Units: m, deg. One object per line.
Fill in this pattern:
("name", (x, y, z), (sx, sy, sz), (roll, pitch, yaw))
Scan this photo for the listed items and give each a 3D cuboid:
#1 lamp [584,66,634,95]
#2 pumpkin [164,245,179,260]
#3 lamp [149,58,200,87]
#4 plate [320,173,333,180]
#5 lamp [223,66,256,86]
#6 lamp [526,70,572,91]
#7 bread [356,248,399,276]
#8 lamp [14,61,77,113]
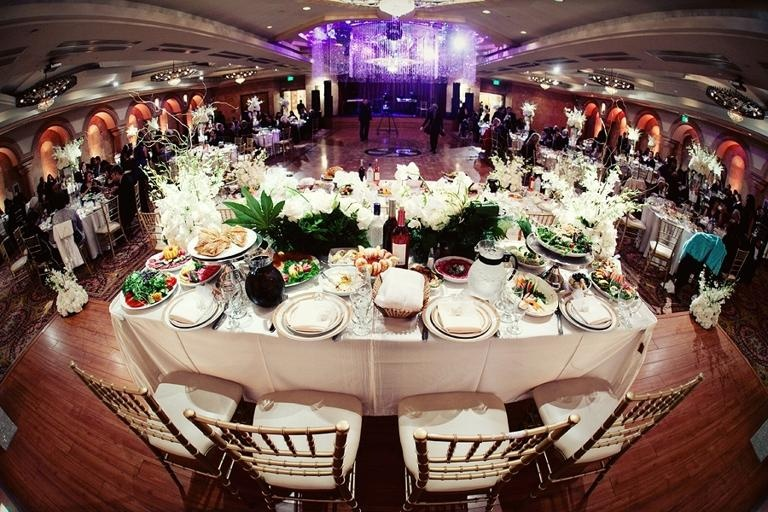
("lamp", (5.876, -4.550, 11.198), (1.115, 0.600, 3.121), (11, 27, 25))
("pumpkin", (-2.176, -0.040, 4.443), (0.133, 0.181, 0.135), (0, 16, 0))
("lamp", (-5.487, -4.829, 11.493), (1.026, 0.598, 3.707), (-11, 26, -20))
("plate", (-0.950, -1.331, 7.317), (0.207, 0.067, 0.206), (-9, 19, -28))
("lamp", (-5.503, -6.857, 16.511), (1.103, 0.711, 4.438), (-9, 26, -17))
("lamp", (5.648, -5.986, 14.753), (1.235, 0.714, 3.768), (12, 28, 26))
("bread", (-0.078, 0.057, 4.020), (0.275, 0.114, 0.300), (10, 18, 14))
("lamp", (-5.814, -2.913, 7.456), (0.913, 0.771, 1.879), (-17, 29, -30))
